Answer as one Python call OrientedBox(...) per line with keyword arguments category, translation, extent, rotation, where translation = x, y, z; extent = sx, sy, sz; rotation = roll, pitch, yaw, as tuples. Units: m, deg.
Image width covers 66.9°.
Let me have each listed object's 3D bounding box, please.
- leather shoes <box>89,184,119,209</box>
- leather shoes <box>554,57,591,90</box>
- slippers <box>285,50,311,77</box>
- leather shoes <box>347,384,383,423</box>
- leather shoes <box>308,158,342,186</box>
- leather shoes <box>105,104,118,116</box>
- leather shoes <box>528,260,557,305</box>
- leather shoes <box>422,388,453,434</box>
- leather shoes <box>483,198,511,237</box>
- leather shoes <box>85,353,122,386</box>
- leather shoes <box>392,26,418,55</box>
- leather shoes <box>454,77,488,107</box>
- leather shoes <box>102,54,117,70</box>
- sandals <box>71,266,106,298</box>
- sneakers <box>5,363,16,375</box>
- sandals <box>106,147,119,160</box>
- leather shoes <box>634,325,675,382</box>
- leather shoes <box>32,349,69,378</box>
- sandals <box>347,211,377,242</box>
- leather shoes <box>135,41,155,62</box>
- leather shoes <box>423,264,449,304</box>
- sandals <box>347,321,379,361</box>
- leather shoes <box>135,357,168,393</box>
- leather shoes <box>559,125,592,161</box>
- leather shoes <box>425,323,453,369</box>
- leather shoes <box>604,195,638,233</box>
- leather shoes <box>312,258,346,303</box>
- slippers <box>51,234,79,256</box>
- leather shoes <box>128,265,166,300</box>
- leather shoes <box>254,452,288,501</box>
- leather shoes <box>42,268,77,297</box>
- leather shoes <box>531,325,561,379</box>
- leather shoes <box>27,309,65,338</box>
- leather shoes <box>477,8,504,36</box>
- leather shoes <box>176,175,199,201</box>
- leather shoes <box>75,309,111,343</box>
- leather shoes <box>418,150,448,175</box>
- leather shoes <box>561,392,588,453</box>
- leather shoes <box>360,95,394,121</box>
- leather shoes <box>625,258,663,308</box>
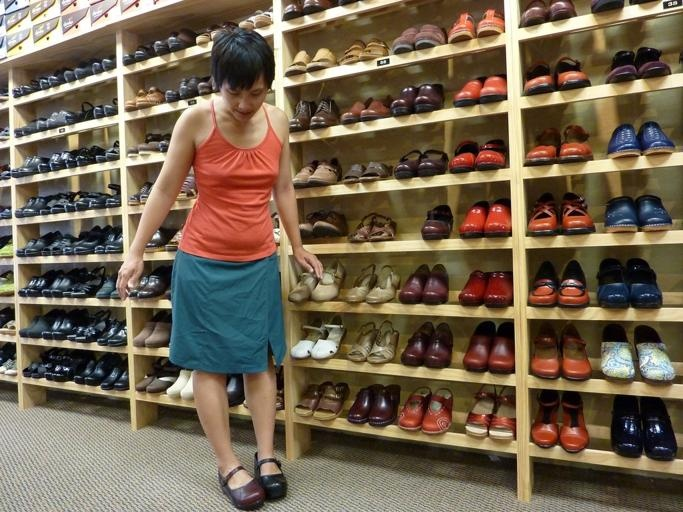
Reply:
OrientedBox(category="leather shoes", translation=(-1.543, -0.392, 3.409), extent=(0.127, 0.139, 0.360), rotation=(3, 4, 26))
OrientedBox(category="leather shoes", translation=(1.060, -0.845, 2.389), extent=(0.121, 0.123, 0.321), rotation=(-14, 20, 7))
OrientedBox(category="slippers", translation=(-0.238, -1.019, 2.732), extent=(0.077, 0.091, 0.208), rotation=(5, 27, 20))
OrientedBox(category="leather shoes", translation=(0.124, 0.769, 2.687), extent=(0.091, 0.099, 0.256), rotation=(1, 11, 21))
OrientedBox(category="leather shoes", translation=(-0.087, -0.443, 2.757), extent=(0.091, 0.082, 0.228), rotation=(8, 20, 14))
OrientedBox(category="leather shoes", translation=(-1.483, -0.927, 3.268), extent=(0.053, 0.055, 0.144), rotation=(-12, 12, -32))
OrientedBox(category="leather shoes", translation=(0.968, 0.147, 2.442), extent=(0.126, 0.120, 0.376), rotation=(-5, 10, 23))
OrientedBox(category="leather shoes", translation=(0.495, 0.781, 2.588), extent=(0.138, 0.119, 0.368), rotation=(2, 12, 23))
OrientedBox(category="leather shoes", translation=(0.732, -0.162, 2.400), extent=(0.091, 0.095, 0.264), rotation=(-4, 13, 20))
OrientedBox(category="leather shoes", translation=(-1.574, 0.735, 3.414), extent=(0.092, 0.105, 0.277), rotation=(5, 31, 18))
OrientedBox(category="leather shoes", translation=(0.319, -1.070, 2.556), extent=(0.118, 0.145, 0.149), rotation=(0, 6, 11))
OrientedBox(category="leather shoes", translation=(0.633, -0.804, 2.509), extent=(0.094, 0.097, 0.253), rotation=(0, 27, 36))
OrientedBox(category="leather shoes", translation=(-1.496, -1.251, 3.321), extent=(0.065, 0.079, 0.189), rotation=(-5, 15, -11))
OrientedBox(category="sandals", translation=(-1.738, 0.182, 3.521), extent=(0.111, 0.104, 0.318), rotation=(-2, 21, 8))
OrientedBox(category="sneakers", translation=(-2.412, 0.818, 3.715), extent=(0.046, 0.051, 0.132), rotation=(7, 4, -10))
OrientedBox(category="sandals", translation=(-1.462, -0.648, 3.260), extent=(0.123, 0.047, 0.043), rotation=(2, 18, 26))
OrientedBox(category="leather shoes", translation=(1.406, 0.430, 2.354), extent=(0.133, 0.104, 0.363), rotation=(-5, 20, 14))
OrientedBox(category="leather shoes", translation=(-2.042, 0.746, 3.569), extent=(0.172, 0.070, 0.239), rotation=(1, 20, 7))
OrientedBox(category="sandals", translation=(0.114, -0.148, 2.758), extent=(0.084, 0.099, 0.260), rotation=(1, 14, 21))
OrientedBox(category="leather shoes", translation=(-1.245, -1.260, 3.165), extent=(0.066, 0.084, 0.192), rotation=(4, 19, 19))
OrientedBox(category="leather shoes", translation=(0.490, 0.148, 2.621), extent=(0.136, 0.114, 0.368), rotation=(5, 16, 15))
OrientedBox(category="sandals", translation=(0.115, 0.458, 2.744), extent=(0.088, 0.047, 0.268), rotation=(-5, 18, 17))
OrientedBox(category="leather shoes", translation=(-1.176, 0.791, 3.243), extent=(0.158, 0.169, 0.492), rotation=(3, -5, -10))
OrientedBox(category="leather shoes", translation=(1.104, -0.531, 2.448), extent=(0.147, 0.161, 0.400), rotation=(-4, 12, 22))
OrientedBox(category="leather shoes", translation=(0.499, 0.470, 2.609), extent=(0.136, 0.119, 0.374), rotation=(5, 11, 15))
OrientedBox(category="leather shoes", translation=(1.266, -0.187, 2.298), extent=(0.132, 0.151, 0.199), rotation=(2, 7, 29))
OrientedBox(category="leather shoes", translation=(-0.066, 0.135, 2.797), extent=(0.125, 0.111, 0.342), rotation=(5, 27, 11))
OrientedBox(category="slippers", translation=(-1.924, -0.074, 3.546), extent=(0.120, 0.130, 0.318), rotation=(0, 2, -5))
OrientedBox(category="leather shoes", translation=(-1.188, 0.166, 3.189), extent=(0.185, 0.103, 0.364), rotation=(7, 20, 0))
OrientedBox(category="leather shoes", translation=(-0.346, 1.031, 2.463), extent=(0.118, 0.118, 0.335), rotation=(-2, 6, -21))
OrientedBox(category="leather shoes", translation=(-1.959, 0.199, 3.573), extent=(0.127, 0.079, 0.225), rotation=(-12, 21, 27))
OrientedBox(category="leather shoes", translation=(0.968, 0.455, 2.439), extent=(0.103, 0.105, 0.302), rotation=(-5, 21, 18))
OrientedBox(category="leather shoes", translation=(-2.121, 0.479, 3.632), extent=(0.111, 0.114, 0.295), rotation=(-1, 23, 18))
OrientedBox(category="leather shoes", translation=(0.701, -1.089, 2.400), extent=(0.127, 0.132, 0.113), rotation=(0, 6, 12))
OrientedBox(category="leather shoes", translation=(-0.914, -0.389, 2.976), extent=(0.096, 0.105, 0.275), rotation=(2, 12, 6))
OrientedBox(category="leather shoes", translation=(-1.673, 0.470, 3.478), extent=(0.105, 0.086, 0.287), rotation=(2, 18, 10))
OrientedBox(category="leather shoes", translation=(0.473, -0.478, 2.625), extent=(0.102, 0.106, 0.279), rotation=(-3, 8, 19))
OrientedBox(category="leather shoes", translation=(1.085, 0.756, 2.383), extent=(0.124, 0.080, 0.347), rotation=(1, 32, 20))
OrientedBox(category="leather shoes", translation=(0.189, -0.762, 2.682), extent=(0.094, 0.095, 0.258), rotation=(5, 19, 27))
OrientedBox(category="leather shoes", translation=(1.344, 0.117, 2.347), extent=(0.111, 0.115, 0.336), rotation=(-7, 22, 13))
